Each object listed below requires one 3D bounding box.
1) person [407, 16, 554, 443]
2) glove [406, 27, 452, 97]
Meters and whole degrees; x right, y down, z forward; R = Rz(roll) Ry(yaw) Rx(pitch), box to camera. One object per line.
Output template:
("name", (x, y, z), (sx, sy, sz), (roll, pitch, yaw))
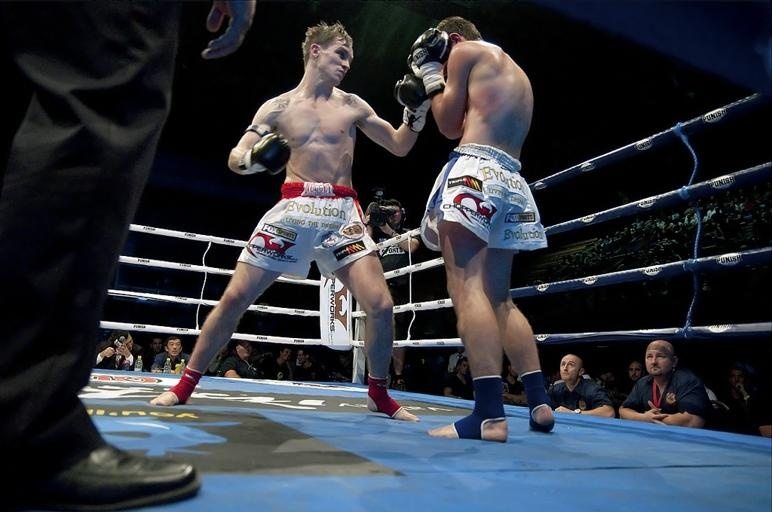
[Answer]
("person", (0.425, -0.202, 2.537), (0.865, 2.099, 0.677), (1, -6, -7))
("glove", (0.213, -1.001, 2.562), (0.193, 0.353, 0.299), (-4, 24, -27))
